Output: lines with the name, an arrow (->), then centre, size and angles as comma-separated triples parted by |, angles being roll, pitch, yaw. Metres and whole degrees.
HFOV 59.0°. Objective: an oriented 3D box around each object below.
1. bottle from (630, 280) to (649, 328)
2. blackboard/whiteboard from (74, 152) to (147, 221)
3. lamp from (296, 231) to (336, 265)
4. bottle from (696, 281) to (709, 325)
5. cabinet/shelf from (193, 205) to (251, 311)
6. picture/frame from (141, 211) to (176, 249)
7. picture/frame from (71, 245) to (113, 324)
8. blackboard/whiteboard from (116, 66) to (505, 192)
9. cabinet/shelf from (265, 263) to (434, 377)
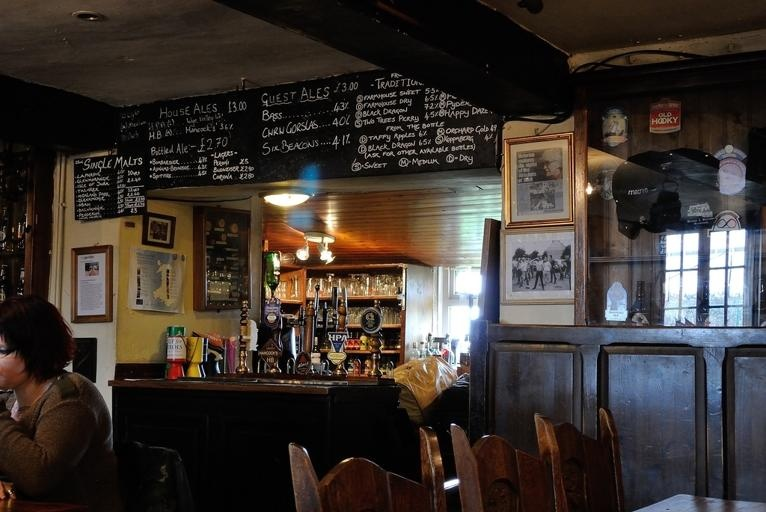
bottle -> 1.635, 0.289, 4.324 | 0.111, 0.276, 0.107 | 0, -2, 0
blackboard/whiteboard -> -2.238, -0.579, 5.629 | 0.579, 0.481, 0.024 | -4, -9, 21
lamp -> -0.845, -0.144, 8.464 | 0.465, 0.314, 0.398 | 0, -17, 9
bottle -> 1.969, 0.290, 4.180 | 0.063, 0.249, 0.058 | 0, -2, 0
cabinet/shelf -> -1.432, 0.002, 6.063 | 0.527, 0.905, 0.151 | 2, -2, -39
picture/frame -> -1.909, -0.230, 5.715 | 0.021, 0.320, 0.321 | 0, 2, 34
picture/frame -> -2.380, 0.242, 5.569 | 0.597, 0.812, 0.058 | -5, -9, 26
blackboard/whiteboard -> -0.615, -0.961, 5.074 | 2.965, 0.788, 0.044 | 0, -2, 19
cabinet/shelf -> -0.353, 0.677, 7.535 | 1.576, 1.454, 0.555 | 2, -4, -7
